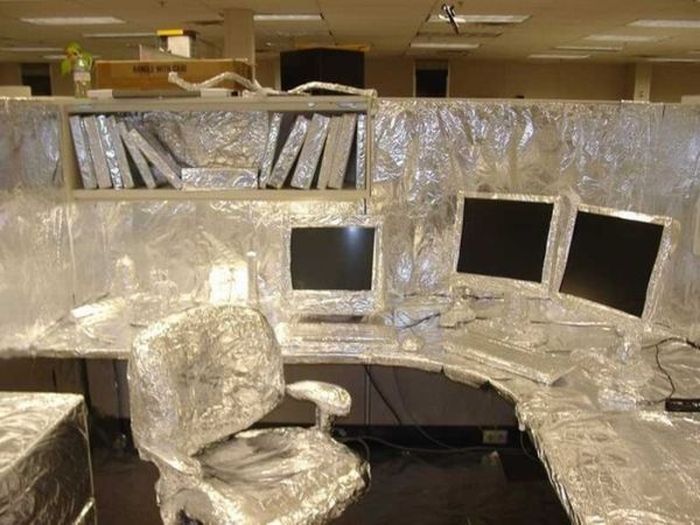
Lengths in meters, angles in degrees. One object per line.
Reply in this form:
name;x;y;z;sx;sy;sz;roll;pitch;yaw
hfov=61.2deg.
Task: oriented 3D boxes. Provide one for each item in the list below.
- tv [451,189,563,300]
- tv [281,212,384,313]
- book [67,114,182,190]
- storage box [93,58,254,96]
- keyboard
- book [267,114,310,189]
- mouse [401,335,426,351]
tv;0.702;-0.080;2.637;0.437;0.506;0.034;4;4;27
tv;-0.068;0.004;2.792;0.396;0.436;0.056;-1;4;2
book;-1.112;-0.529;2.748;0.365;0.430;0.104;-2;8;-5
storage box;-0.850;-0.901;2.837;0.694;0.135;0.213;0;11;-1
keyboard;0.649;0.332;2.429;0.362;0.046;0.217;17;23;32
book;-0.309;-0.532;2.840;0.179;0.337;0.178;-7;13;-32
mouse;0.270;0.351;2.581;0.067;0.023;0.067;-12;31;-12
